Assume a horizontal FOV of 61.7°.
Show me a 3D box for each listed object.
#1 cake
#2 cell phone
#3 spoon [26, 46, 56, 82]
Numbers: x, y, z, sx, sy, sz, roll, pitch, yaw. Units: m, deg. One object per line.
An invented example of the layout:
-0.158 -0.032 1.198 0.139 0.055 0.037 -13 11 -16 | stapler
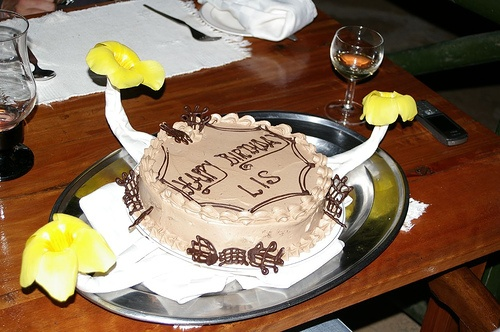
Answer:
-0.083 0.044 1.074 0.814 0.366 0.740 10 60 9 | cake
0.663 -0.164 1.476 0.090 0.040 0.208 -16 42 -19 | cell phone
-0.783 -0.380 1.544 0.084 0.028 0.125 -21 59 -30 | spoon
